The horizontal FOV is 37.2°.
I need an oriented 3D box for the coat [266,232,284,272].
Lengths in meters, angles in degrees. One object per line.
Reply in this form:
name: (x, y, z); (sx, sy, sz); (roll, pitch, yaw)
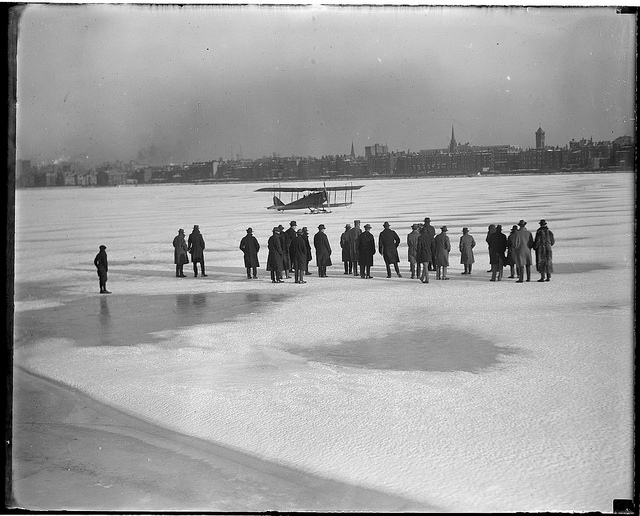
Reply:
coat: (-1.096, -0.130, 22.966); (0.413, 1.085, 0.729); (-4, 12, -4)

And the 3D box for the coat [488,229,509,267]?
coat: (4.095, -0.256, 22.032); (0.464, 0.902, 0.508); (-1, 12, 10)

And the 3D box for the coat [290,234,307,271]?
coat: (-0.516, -0.144, 23.132); (0.383, 0.881, 0.384); (-4, 12, -8)

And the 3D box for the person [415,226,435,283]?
person: (2.433, -0.071, 22.326); (0.449, 1.469, 0.738); (-2, 12, 6)

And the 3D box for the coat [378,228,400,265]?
coat: (1.662, -0.227, 22.866); (0.492, 1.272, 0.454); (-6, 14, 2)

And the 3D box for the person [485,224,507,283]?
person: (4.138, -0.094, 22.445); (0.455, 1.512, 1.250); (0, 12, 11)

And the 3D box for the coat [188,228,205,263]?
coat: (-3.106, -0.321, 23.690); (0.379, 0.995, 0.701); (-4, 12, -8)

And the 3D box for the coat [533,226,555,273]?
coat: (5.107, -0.173, 21.959); (0.424, 1.429, 1.655); (0, 13, 14)

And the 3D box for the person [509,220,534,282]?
person: (4.543, -0.138, 21.616); (0.536, 1.609, 1.021); (0, 12, 12)

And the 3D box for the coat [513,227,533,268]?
coat: (4.561, -0.259, 21.572); (0.428, 1.015, 0.725); (0, 12, 11)

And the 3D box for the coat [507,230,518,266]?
coat: (4.353, -0.225, 21.663); (0.255, 0.901, 0.365); (-3, 30, 10)
